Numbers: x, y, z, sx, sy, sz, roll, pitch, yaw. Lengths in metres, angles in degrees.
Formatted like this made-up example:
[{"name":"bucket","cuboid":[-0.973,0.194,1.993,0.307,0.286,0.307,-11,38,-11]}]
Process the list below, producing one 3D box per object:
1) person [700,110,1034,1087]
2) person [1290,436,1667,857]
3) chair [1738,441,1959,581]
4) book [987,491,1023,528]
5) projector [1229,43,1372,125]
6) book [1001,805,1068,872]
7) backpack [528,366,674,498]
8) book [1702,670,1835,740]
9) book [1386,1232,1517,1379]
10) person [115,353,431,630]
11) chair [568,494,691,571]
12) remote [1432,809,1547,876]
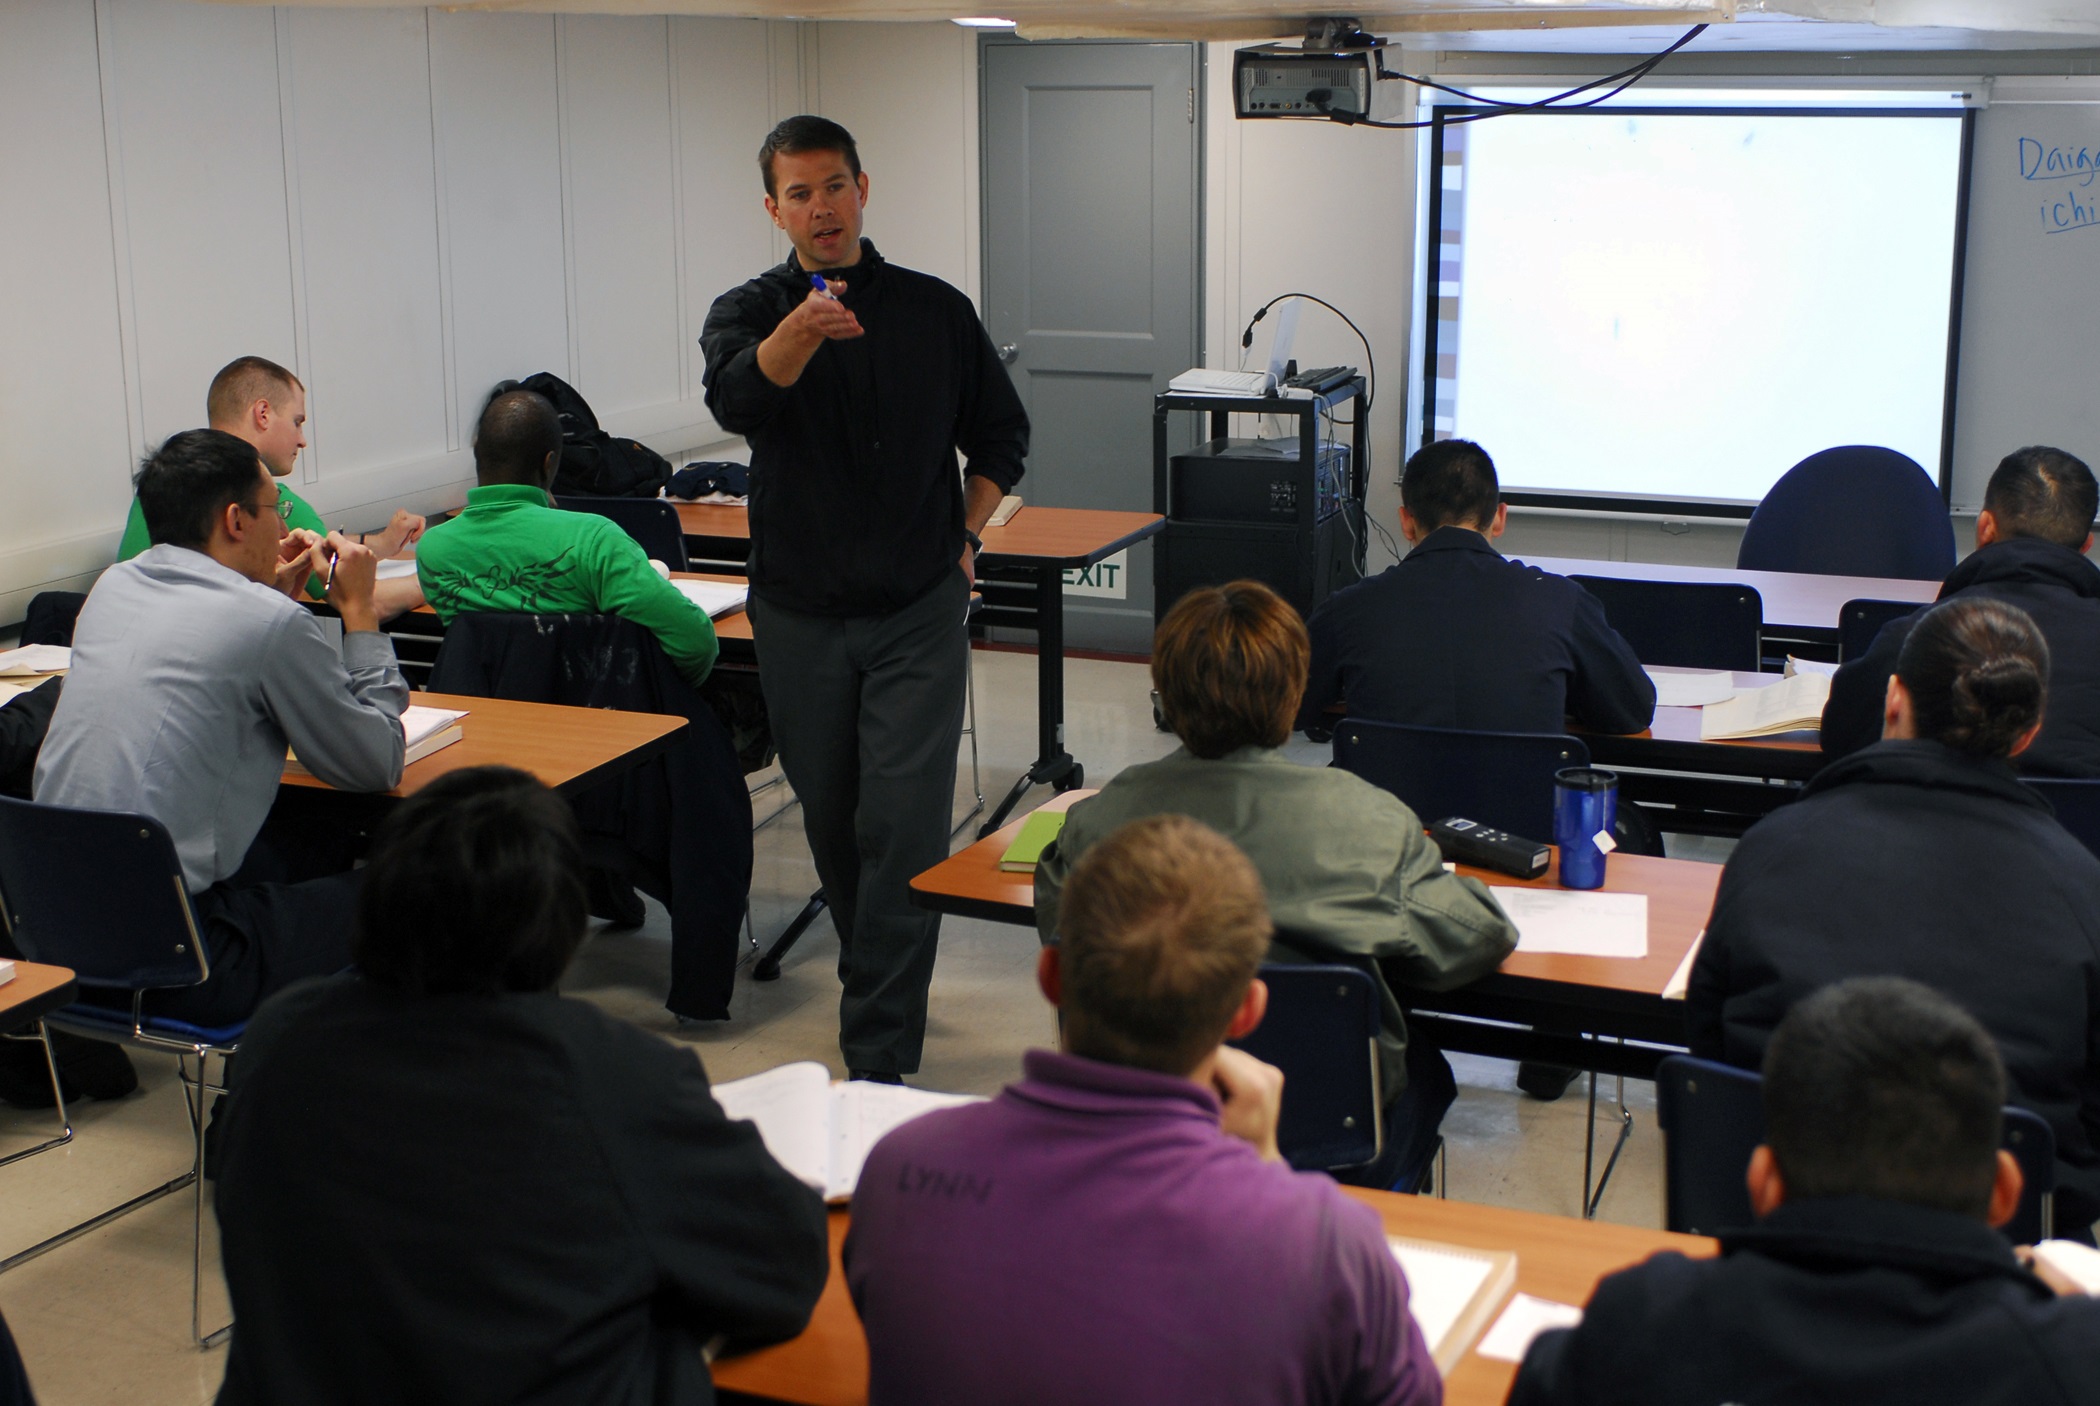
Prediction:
[{"name":"person","cuboid":[-0.435,-0.241,3.762,0.714,2.262,1.366,0,10,6]},{"name":"person","cuboid":[1.008,0.049,3.959,0.917,1.285,0.712,6,23,24]},{"name":"chair","cuboid":[2.659,-0.645,5.400,0.560,0.493,0.633,4,-30,21]},{"name":"book","cuboid":[-0.157,-0.690,5.745,0.041,0.138,0.156,29,-6,-23]},{"name":"projector","cuboid":[0.729,-1.846,4.697,0.244,0.247,0.450,-7,15,-29]},{"name":"book","cuboid":[-0.031,0.270,3.123,0.170,0.032,0.229,-1,23,9]},{"name":"backpack","cuboid":[-1.813,-1.046,6.389,0.642,0.273,0.500,16,8,15]},{"name":"book","cuboid":[1.756,0.008,3.867,0.214,0.058,0.208,1,19,24]},{"name":"book","cuboid":[0.471,0.713,1.905,0.193,0.029,0.195,10,20,41]},{"name":"person","cuboid":[-2.267,-0.645,4.782,0.589,0.725,0.901,8,8,31]},{"name":"chair","cuboid":[-1.458,-0.623,5.519,0.259,0.454,0.304,9,16,30]},{"name":"remote","cuboid":[0.849,0.270,3.054,0.163,0.048,0.101,19,27,30]}]
